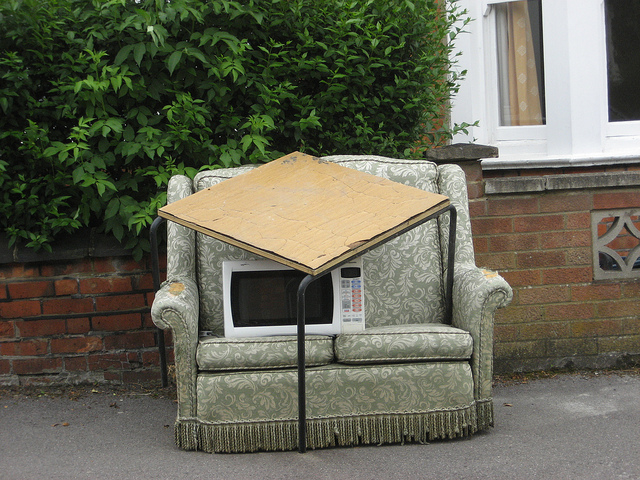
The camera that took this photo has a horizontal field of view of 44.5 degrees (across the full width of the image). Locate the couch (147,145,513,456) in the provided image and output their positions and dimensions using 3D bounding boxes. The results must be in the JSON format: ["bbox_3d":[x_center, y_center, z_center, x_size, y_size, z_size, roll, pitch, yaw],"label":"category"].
[{"bbox_3d":[0.051,0.434,4.752,2.743,2.086,1.494,0,-4,-3],"label":"couch"}]

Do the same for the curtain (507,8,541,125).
[{"bbox_3d":[1.480,-1.289,5.786,0.203,0.812,0.053,-5,-2,7],"label":"curtain"}]
